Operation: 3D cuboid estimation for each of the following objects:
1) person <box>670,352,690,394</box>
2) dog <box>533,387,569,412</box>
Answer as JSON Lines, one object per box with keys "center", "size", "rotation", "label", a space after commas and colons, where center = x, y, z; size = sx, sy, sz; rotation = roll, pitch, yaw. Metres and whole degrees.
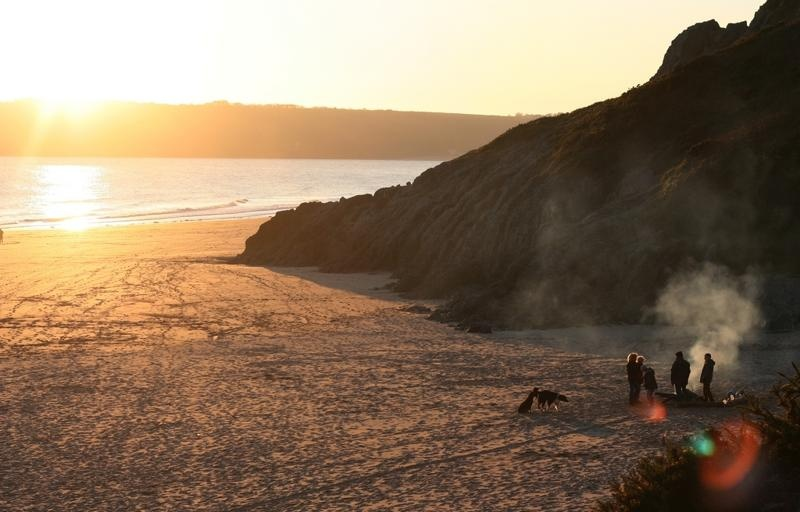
{"center": [9.226, 3.783, 21.761], "size": [0.569, 1.455, 1.221], "rotation": [10, 6, 23], "label": "person"}
{"center": [4.874, 4.588, 21.298], "size": [1.049, 0.641, 0.585], "rotation": [4, 5, -10], "label": "dog"}
